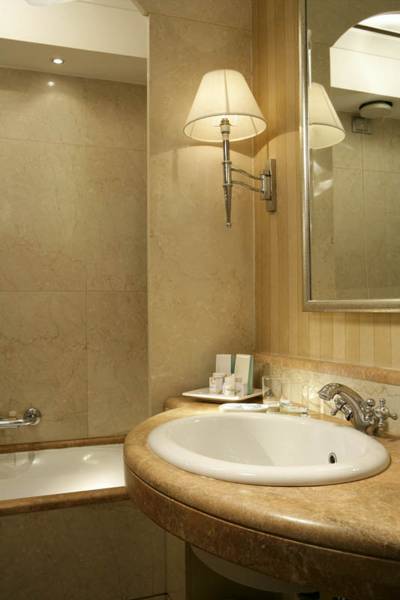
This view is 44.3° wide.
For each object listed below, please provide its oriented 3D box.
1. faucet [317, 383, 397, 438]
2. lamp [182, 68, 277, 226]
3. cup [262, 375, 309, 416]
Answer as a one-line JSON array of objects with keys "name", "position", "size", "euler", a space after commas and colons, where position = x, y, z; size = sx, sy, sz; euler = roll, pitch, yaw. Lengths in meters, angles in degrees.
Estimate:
[{"name": "faucet", "position": [0.332, 0.223, 1.037], "size": [0.130, 0.066, 0.106], "euler": [22, 3, 22]}, {"name": "lamp", "position": [0.100, -0.459, 1.538], "size": [0.261, 0.502, 0.244], "euler": [0, -8, -4]}, {"name": "cup", "position": [0.195, 0.227, 1.186], "size": [0.065, 0.095, 0.124], "euler": [-1, -4, -16]}]
